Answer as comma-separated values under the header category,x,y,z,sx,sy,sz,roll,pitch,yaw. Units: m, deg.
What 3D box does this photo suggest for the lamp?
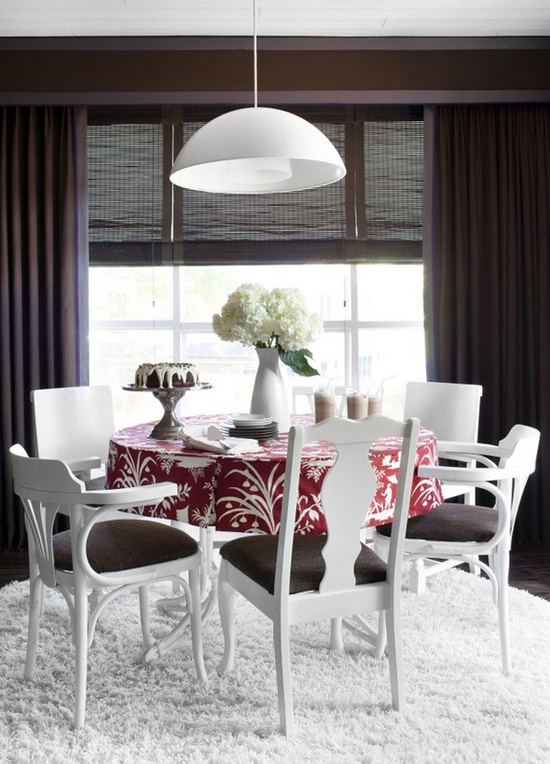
category,x,y,z,sx,sy,sz,roll,pitch,yaw
lamp,-0.047,-0.815,2.339,0.585,0.671,0.644,-1,4,-5

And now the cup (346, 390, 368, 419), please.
category,x,y,z,sx,sy,sz,roll,pitch,yaw
cup,0.277,0.078,2.477,0.084,0.137,0.087,-1,1,0

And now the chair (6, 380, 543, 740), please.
category,x,y,z,sx,sy,sz,roll,pitch,yaw
chair,0.257,0.753,2.658,1.530,0.792,1.071,0,-3,-4

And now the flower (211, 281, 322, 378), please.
category,x,y,z,sx,sy,sz,roll,pitch,yaw
flower,-0.012,-0.183,2.477,0.319,0.339,0.302,4,4,28

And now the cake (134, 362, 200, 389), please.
category,x,y,z,sx,sy,sz,roll,pitch,yaw
cake,-0.357,-0.017,2.343,0.201,0.075,0.138,-1,4,-9

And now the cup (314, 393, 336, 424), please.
category,x,y,z,sx,sy,sz,roll,pitch,yaw
cup,0.165,0.082,2.439,0.063,0.100,0.049,0,3,6
